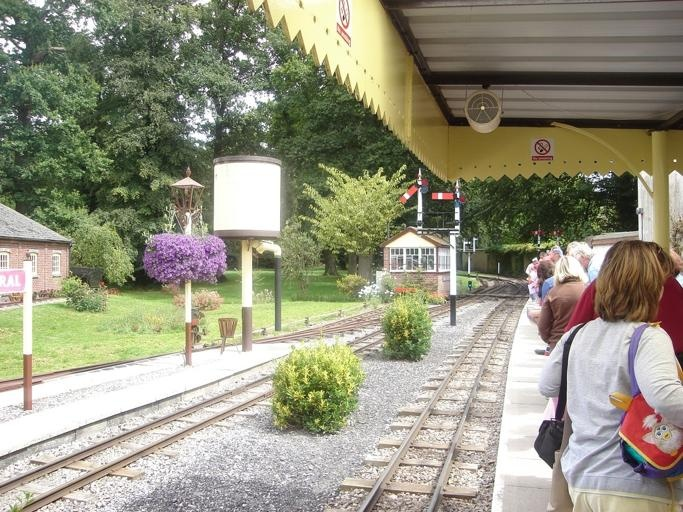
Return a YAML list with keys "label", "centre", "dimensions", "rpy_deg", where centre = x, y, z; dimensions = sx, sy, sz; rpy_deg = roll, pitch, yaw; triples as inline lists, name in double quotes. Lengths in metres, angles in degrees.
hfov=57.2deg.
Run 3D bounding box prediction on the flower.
- label: "flower"
  centre: [-3.888, 0.084, 15.633]
  dimensions: [1.414, 1.108, 1.661]
  rpy_deg: [1, 2, -2]
